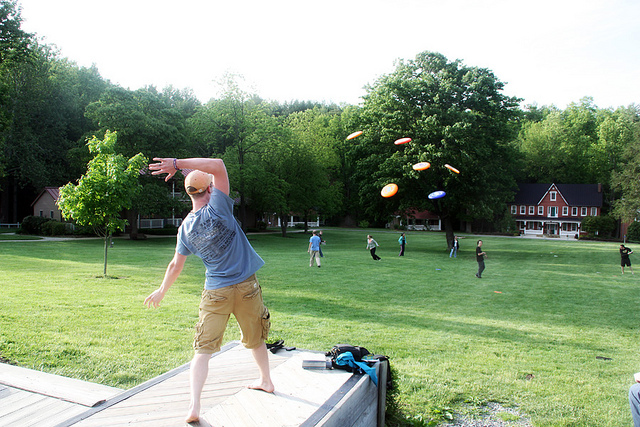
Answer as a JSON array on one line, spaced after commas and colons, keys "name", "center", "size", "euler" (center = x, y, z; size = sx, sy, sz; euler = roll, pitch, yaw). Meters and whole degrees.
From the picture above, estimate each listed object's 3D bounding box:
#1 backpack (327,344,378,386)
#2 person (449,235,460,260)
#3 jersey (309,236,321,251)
[{"name": "backpack", "center": [0.753, 3.584, 11.572], "size": [0.911, 0.390, 0.862], "euler": [6, 4, 2]}, {"name": "person", "center": [10.422, 2.666, 37.890], "size": [1.366, 1.600, 0.534], "euler": [2, -12, 0]}, {"name": "jersey", "center": [-0.248, 1.659, 26.930], "size": [0.521, 0.896, 0.846], "euler": [2, 4, -6]}]
